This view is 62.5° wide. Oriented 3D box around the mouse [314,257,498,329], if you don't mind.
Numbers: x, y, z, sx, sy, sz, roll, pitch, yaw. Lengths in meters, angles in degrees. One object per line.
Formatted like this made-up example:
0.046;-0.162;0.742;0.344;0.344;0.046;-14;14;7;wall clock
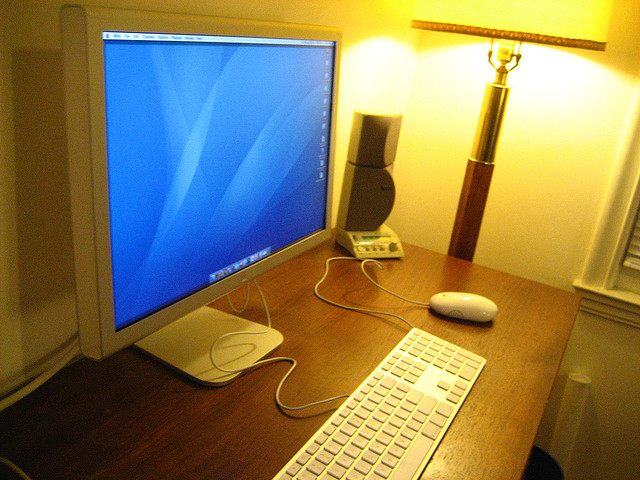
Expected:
0.242;0.149;1.252;0.285;0.034;0.167;13;27;22;mouse

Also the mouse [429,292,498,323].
0.325;0.149;1.198;0.136;0.049;0.067;8;15;8;mouse

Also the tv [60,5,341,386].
-0.217;-0.072;0.930;0.220;0.602;0.639;21;24;25;tv
